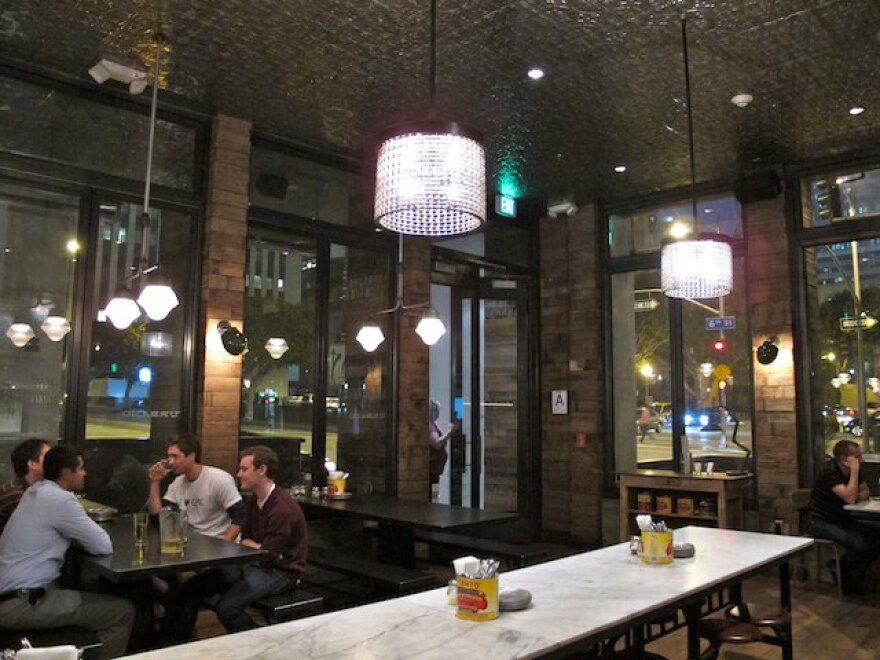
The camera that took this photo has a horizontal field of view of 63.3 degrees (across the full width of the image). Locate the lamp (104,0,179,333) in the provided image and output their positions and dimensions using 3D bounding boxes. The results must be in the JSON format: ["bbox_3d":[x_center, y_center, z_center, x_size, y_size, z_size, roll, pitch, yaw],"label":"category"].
[{"bbox_3d":[-2.316,-1.140,5.551,0.521,2.271,1.398,0,-3,-23],"label":"lamp"}]

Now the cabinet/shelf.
[{"bbox_3d":[2.441,1.985,7.341,1.218,1.035,0.461,-5,-9,37],"label":"cabinet/shelf"}]

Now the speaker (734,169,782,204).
[{"bbox_3d":[3.314,-1.478,7.408,0.385,0.205,0.331,-5,-35,47],"label":"speaker"}]

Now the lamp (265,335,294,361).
[{"bbox_3d":[-1.585,0.172,6.925,0.208,0.189,0.079,-12,6,-33],"label":"lamp"}]

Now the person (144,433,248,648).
[{"bbox_3d":[-1.797,1.537,5.257,0.646,1.450,0.847,-14,-13,18],"label":"person"}]

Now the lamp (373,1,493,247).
[{"bbox_3d":[-0.096,-1.198,3.835,0.528,1.502,1.082,-1,-3,-6],"label":"lamp"}]

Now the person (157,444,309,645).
[{"bbox_3d":[-1.406,1.516,4.794,1.014,1.408,0.690,6,-10,-38],"label":"person"}]

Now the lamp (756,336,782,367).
[{"bbox_3d":[3.387,0.217,7.406,0.066,0.264,0.216,15,-16,-41],"label":"lamp"}]

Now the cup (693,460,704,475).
[{"bbox_3d":[2.732,1.475,7.603,0.116,0.119,0.120,0,-10,0],"label":"cup"}]

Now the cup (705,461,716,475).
[{"bbox_3d":[2.797,1.430,7.401,0.110,0.151,0.122,4,-7,-9],"label":"cup"}]

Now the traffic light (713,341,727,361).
[{"bbox_3d":[3.147,0.232,8.015,0.193,0.187,0.072,12,13,33],"label":"traffic light"}]

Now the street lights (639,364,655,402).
[{"bbox_3d":[2.465,0.644,8.496,0.184,0.489,0.032,-4,-5,44],"label":"street lights"}]
